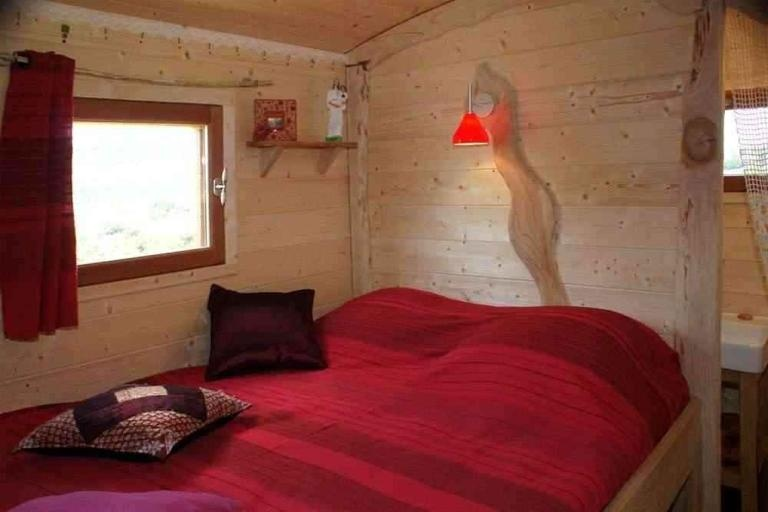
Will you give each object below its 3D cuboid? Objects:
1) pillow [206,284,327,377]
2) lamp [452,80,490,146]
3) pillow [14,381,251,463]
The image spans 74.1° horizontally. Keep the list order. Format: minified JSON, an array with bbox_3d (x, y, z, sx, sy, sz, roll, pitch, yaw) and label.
[{"bbox_3d":[-0.676,0.401,2.884,0.719,0.632,0.174,11,-34,-4],"label":"pillow"},{"bbox_3d":[0.524,-0.830,2.959,0.199,0.372,0.345,3,14,11],"label":"lamp"},{"bbox_3d":[-1.014,0.639,1.992,0.399,0.103,0.382,0,2,21],"label":"pillow"}]
